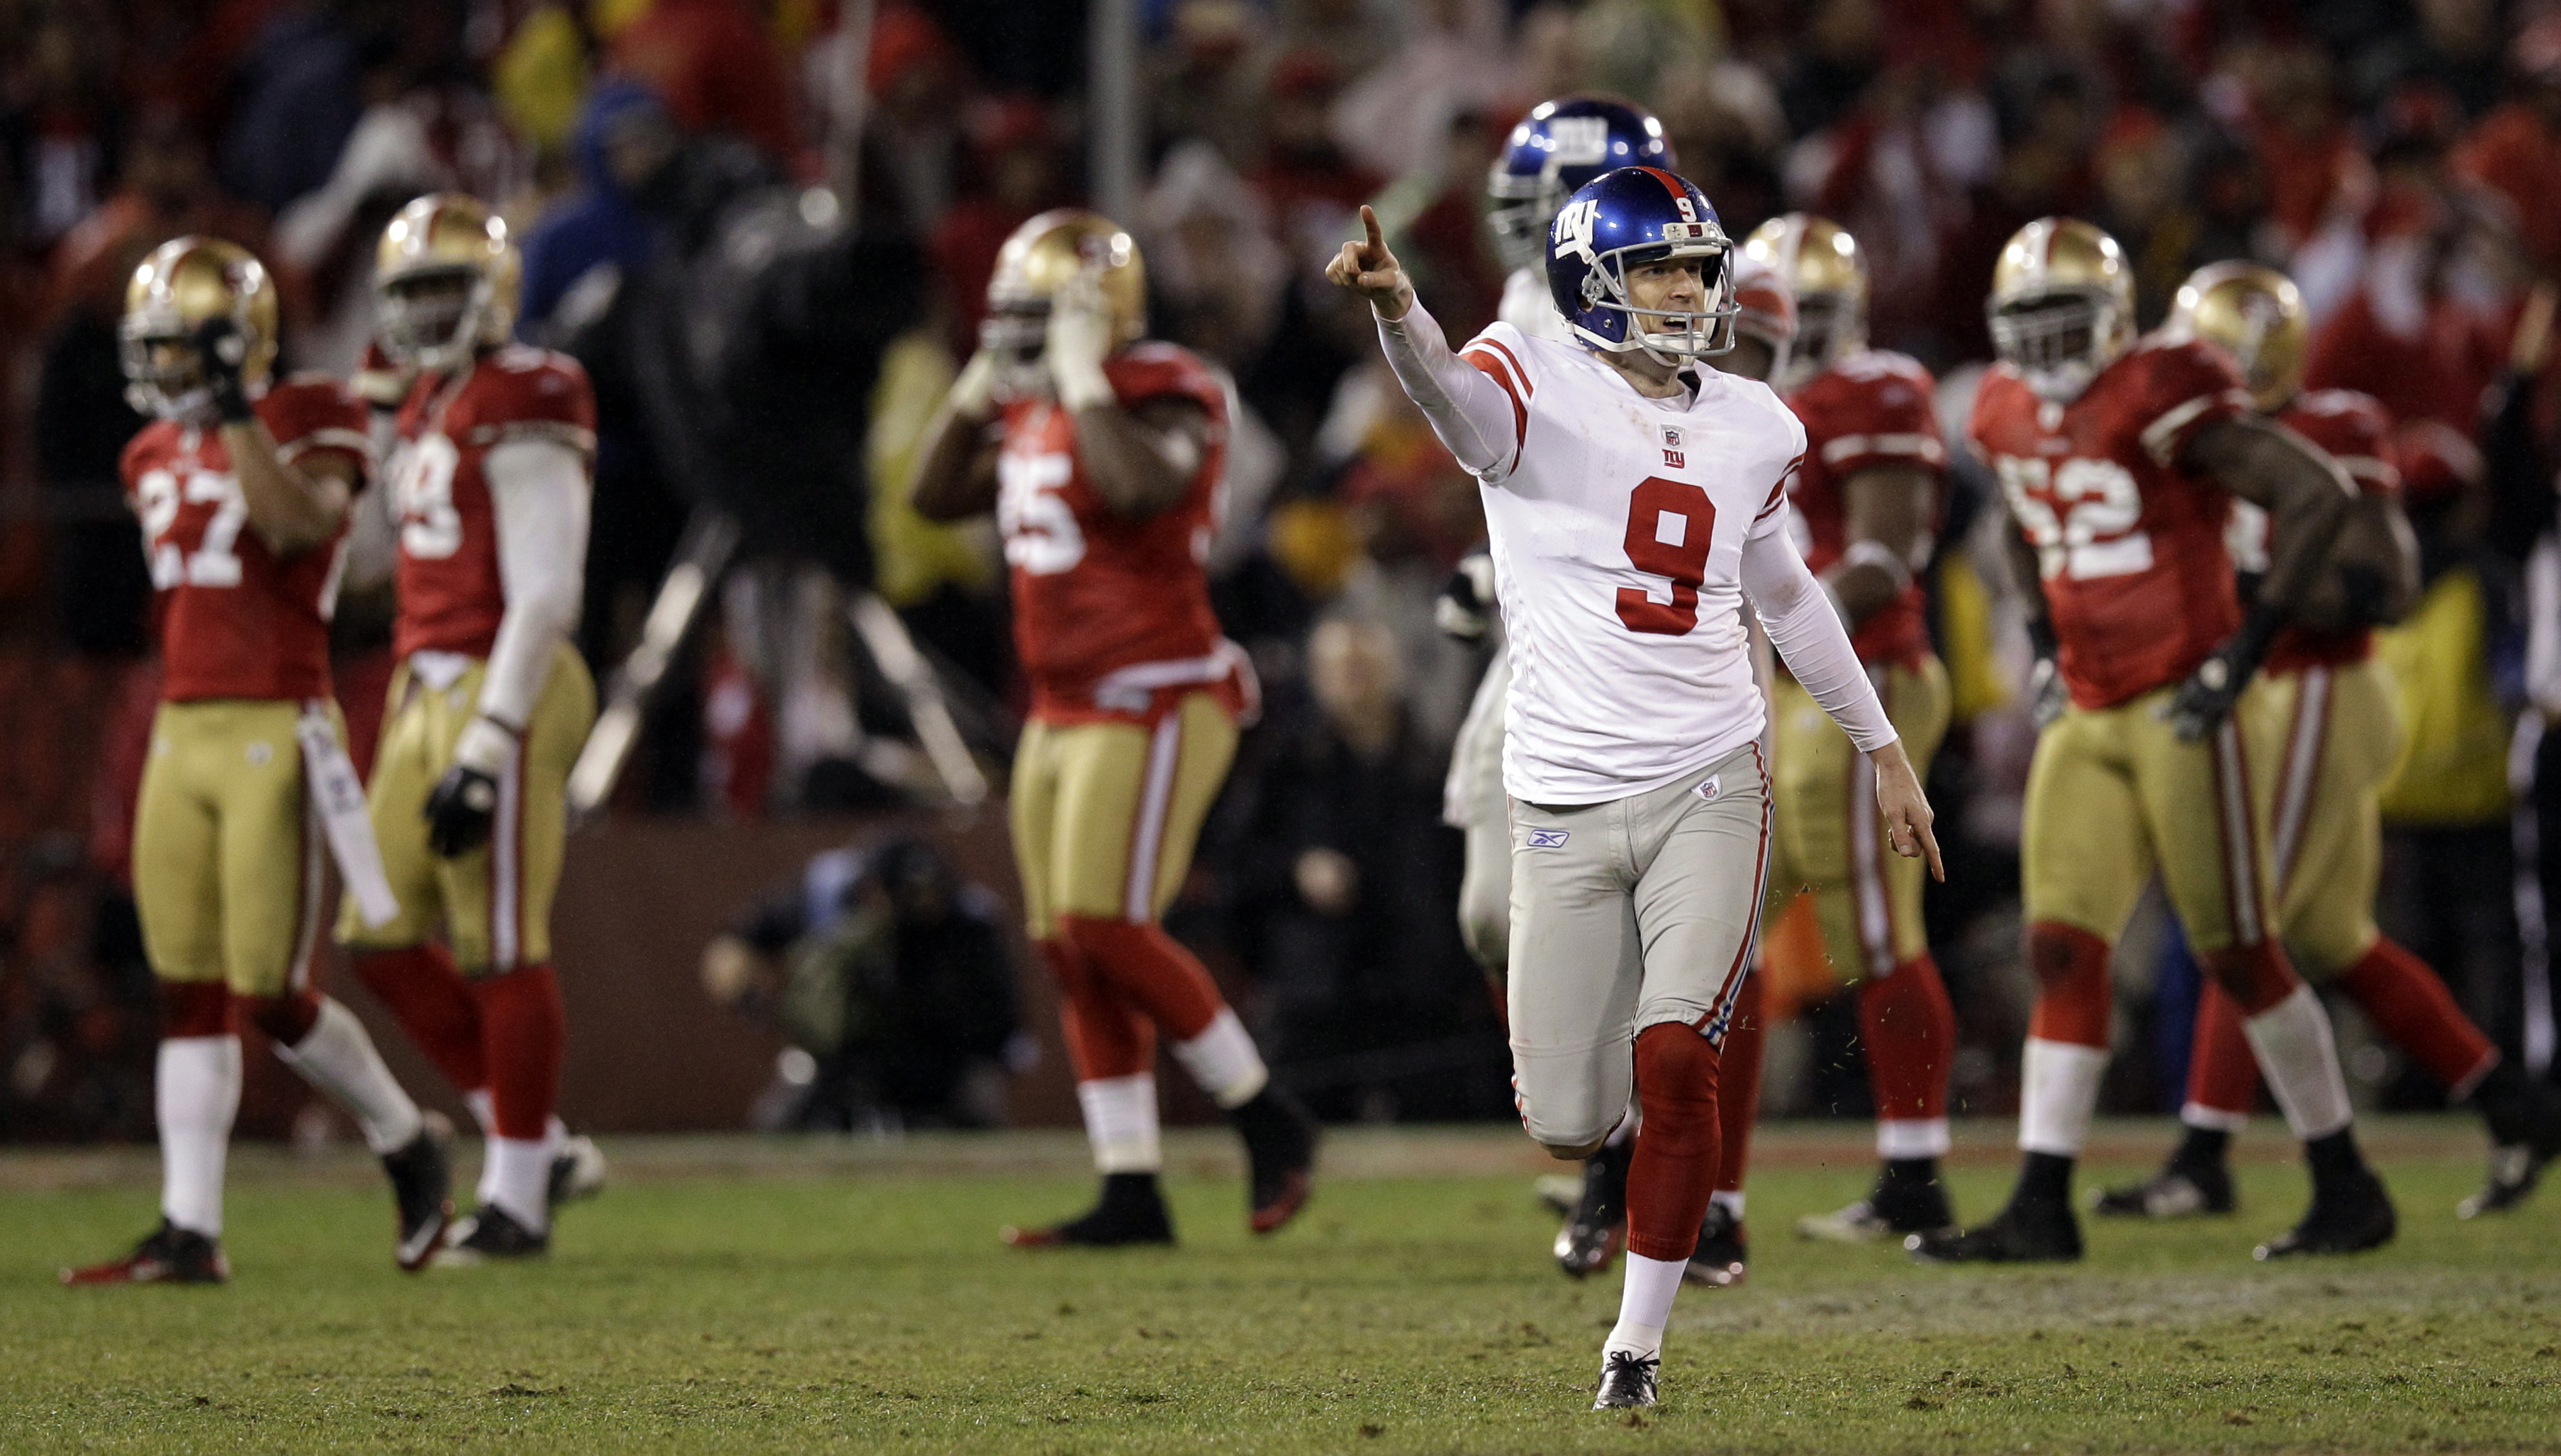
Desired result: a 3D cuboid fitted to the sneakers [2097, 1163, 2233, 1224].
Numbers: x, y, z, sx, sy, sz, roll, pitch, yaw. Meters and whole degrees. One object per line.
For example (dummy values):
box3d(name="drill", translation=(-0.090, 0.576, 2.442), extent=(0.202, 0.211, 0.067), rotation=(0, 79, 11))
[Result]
box3d(name="sneakers", translation=(3.799, 1.979, 14.716), extent=(0.629, 0.239, 0.217), rotation=(1, -7, 7))

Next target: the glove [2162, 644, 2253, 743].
box3d(name="glove", translation=(3.685, -0.140, 13.688), extent=(0.397, 0.222, 0.153), rotation=(-48, -23, 23))

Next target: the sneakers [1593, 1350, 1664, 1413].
box3d(name="sneakers", translation=(1.205, 2.243, 11.901), extent=(0.171, 0.162, 0.422), rotation=(2, -5, 6))

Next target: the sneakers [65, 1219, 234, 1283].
box3d(name="sneakers", translation=(-4.402, 2.049, 13.639), extent=(0.713, 0.271, 0.234), rotation=(2, -5, -8))
